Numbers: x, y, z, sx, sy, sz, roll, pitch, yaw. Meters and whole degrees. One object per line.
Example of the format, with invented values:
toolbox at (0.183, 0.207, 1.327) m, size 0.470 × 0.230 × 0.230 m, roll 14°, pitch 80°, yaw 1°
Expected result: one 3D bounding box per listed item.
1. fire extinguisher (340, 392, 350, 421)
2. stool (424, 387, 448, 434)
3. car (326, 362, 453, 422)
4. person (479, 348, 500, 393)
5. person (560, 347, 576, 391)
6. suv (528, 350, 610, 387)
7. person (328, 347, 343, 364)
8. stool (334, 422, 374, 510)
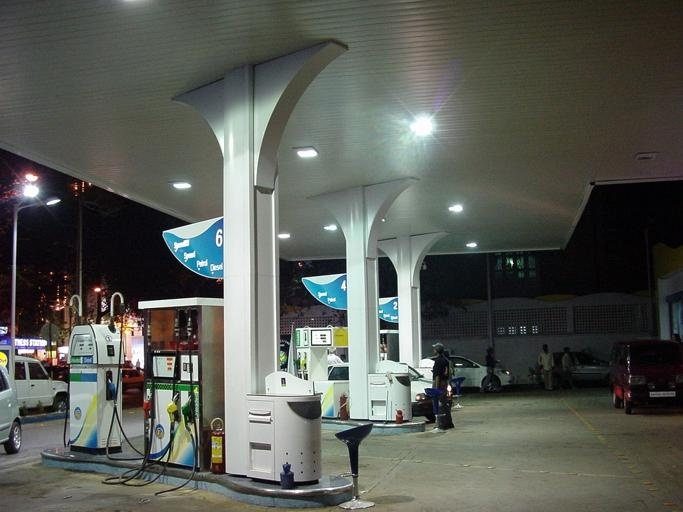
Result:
fire extinguisher at (0.063, 3.891, 15.568) m, size 0.234 × 0.643 × 0.501 m, roll -1°, pitch -9°, yaw 0°
stool at (2.385, 3.807, 14.975) m, size 0.503 × 1.018 × 0.916 m, roll -2°, pitch -9°, yaw 10°
car at (1.253, 3.902, 17.298) m, size 3.262 × 1.689 × 1.887 m, roll -5°, pitch -8°, yaw 21°
person at (6.427, 4.888, 25.856) m, size 0.922 × 1.834 × 0.568 m, roll 7°, pitch -11°, yaw -42°
person at (9.918, 4.881, 26.306) m, size 0.512 × 1.689 × 1.021 m, roll -4°, pitch -9°, yaw 20°
suv at (10.211, 5.114, 26.783) m, size 2.810 × 1.399 × 1.812 m, roll -4°, pitch -5°, yaw 4°
person at (-0.226, 3.081, 18.673) m, size 0.630 × 0.316 × 0.848 m, roll 1°, pitch 5°, yaw 7°
stool at (0.206, 3.116, 9.238) m, size 0.551 × 1.122 × 1.662 m, roll -1°, pitch -9°, yaw 2°
